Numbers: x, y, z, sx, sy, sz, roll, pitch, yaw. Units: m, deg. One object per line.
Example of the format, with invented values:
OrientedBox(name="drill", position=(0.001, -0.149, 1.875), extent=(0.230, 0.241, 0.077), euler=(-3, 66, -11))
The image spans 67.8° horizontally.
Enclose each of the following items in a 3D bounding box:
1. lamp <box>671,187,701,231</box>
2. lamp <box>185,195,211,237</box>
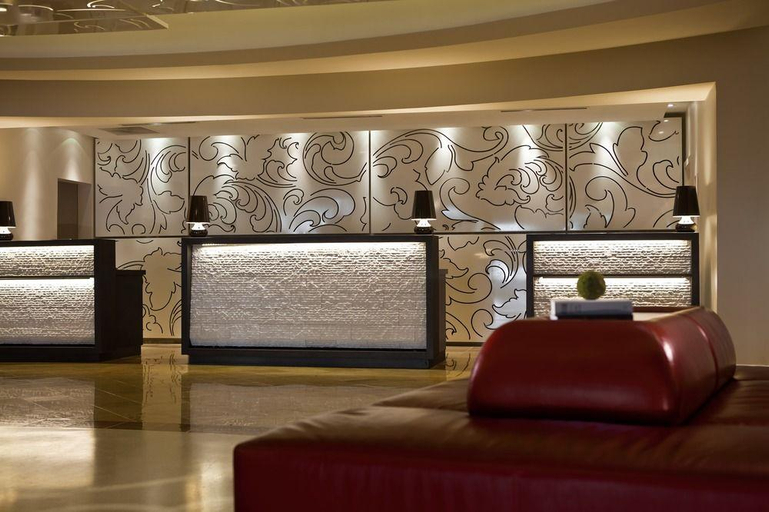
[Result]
OrientedBox(name="lamp", position=(3.053, -0.494, 5.813), extent=(0.306, 0.499, 0.303), euler=(7, -7, -42))
OrientedBox(name="lamp", position=(-2.708, -0.563, 8.223), extent=(0.411, 0.559, 0.399), euler=(0, 1, 2))
